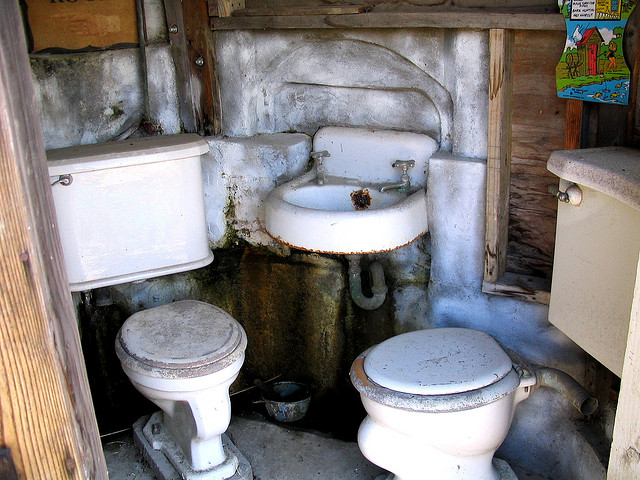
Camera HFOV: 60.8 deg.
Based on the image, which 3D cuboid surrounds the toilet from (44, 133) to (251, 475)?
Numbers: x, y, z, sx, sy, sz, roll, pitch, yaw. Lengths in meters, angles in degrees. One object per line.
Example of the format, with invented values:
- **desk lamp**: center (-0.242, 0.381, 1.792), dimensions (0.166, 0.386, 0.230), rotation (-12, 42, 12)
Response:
- **toilet**: center (-0.674, 0.274, 2.295), dimensions (0.635, 1.324, 0.875), rotation (-13, 20, -23)

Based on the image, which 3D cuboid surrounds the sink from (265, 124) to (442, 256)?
- **sink**: center (0.171, -0.238, 2.350), dimensions (0.737, 0.376, 0.743), rotation (-3, 24, -5)

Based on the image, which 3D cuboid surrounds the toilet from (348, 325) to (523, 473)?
- **toilet**: center (0.378, 0.499, 1.981), dimensions (0.515, 0.465, 0.494), rotation (-9, 29, -10)
